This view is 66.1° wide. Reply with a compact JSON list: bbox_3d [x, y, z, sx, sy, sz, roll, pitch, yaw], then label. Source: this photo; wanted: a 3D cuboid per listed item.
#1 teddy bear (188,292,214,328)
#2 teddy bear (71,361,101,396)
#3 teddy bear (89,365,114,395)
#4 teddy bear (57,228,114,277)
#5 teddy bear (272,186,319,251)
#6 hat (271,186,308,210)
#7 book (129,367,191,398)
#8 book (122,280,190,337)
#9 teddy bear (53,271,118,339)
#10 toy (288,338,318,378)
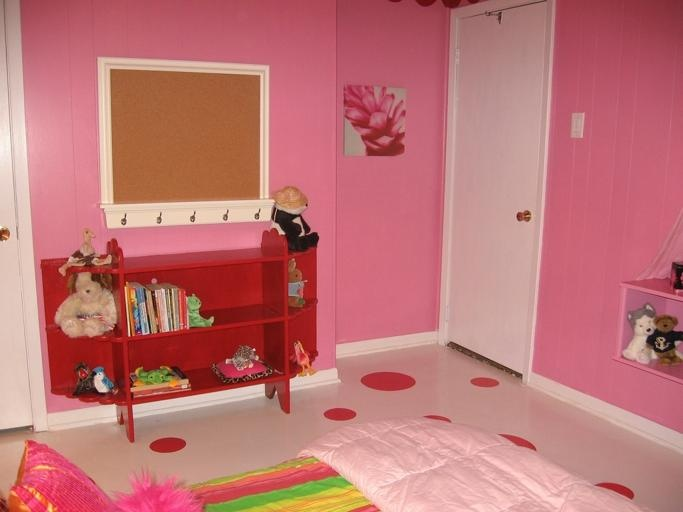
[{"bbox_3d":[-0.830,0.326,3.109,0.145,0.170,0.122,-2,13,-12],"label":"teddy bear"},{"bbox_3d":[-1.499,0.702,3.066,0.126,0.173,0.183,-6,14,-26],"label":"teddy bear"},{"bbox_3d":[-1.389,0.732,3.124,0.103,0.150,0.152,3,0,24],"label":"teddy bear"},{"bbox_3d":[-1.414,-0.014,2.933,0.312,0.194,0.237,-1,5,29],"label":"teddy bear"},{"bbox_3d":[-0.311,-0.257,3.445,0.289,0.401,0.376,-8,25,-21],"label":"teddy bear"},{"bbox_3d":[-0.316,-0.371,3.354,0.185,0.075,0.137,8,15,33],"label":"hat"},{"bbox_3d":[-1.088,0.728,3.168,0.334,0.109,0.261,-4,14,-20],"label":"book"},{"bbox_3d":[-1.057,0.269,3.080,0.394,0.379,0.270,-3,4,-44],"label":"book"},{"bbox_3d":[-1.447,0.267,2.976,0.334,0.361,0.145,-2,13,-12],"label":"teddy bear"},{"bbox_3d":[-0.260,0.686,3.492,0.142,0.206,0.265,-4,-13,12],"label":"toy"}]
